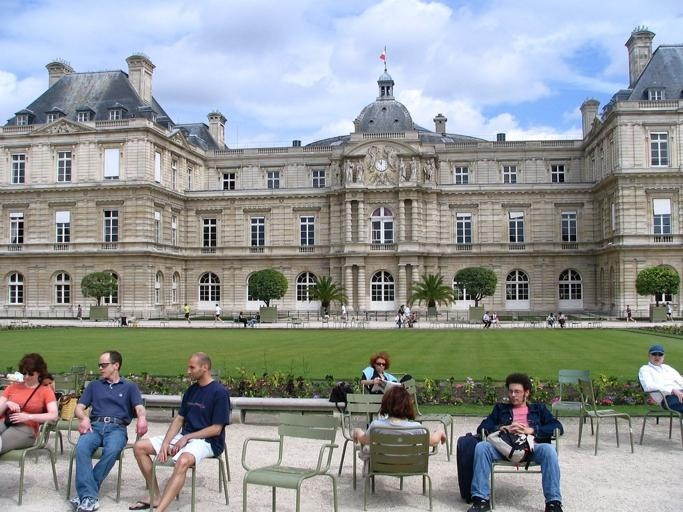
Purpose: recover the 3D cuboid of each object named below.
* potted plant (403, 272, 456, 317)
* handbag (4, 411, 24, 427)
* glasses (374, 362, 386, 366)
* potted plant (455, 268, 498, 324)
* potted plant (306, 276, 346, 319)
[{"bbox_3d":[6.158,2.496,65.610,2.713,3.118,2.089,-2,0,22],"label":"potted plant"},{"bbox_3d":[-8.731,4.371,25.743,0.392,0.353,0.300,-1,-4,15],"label":"handbag"},{"bbox_3d":[1.153,3.145,27.985,0.293,0.116,0.049,-2,-6,4],"label":"glasses"},{"bbox_3d":[9.130,2.274,64.922,2.963,3.661,3.134,1,-5,11],"label":"potted plant"},{"bbox_3d":[-0.758,2.805,67.519,2.652,2.247,2.623,-4,-9,42],"label":"potted plant"}]
